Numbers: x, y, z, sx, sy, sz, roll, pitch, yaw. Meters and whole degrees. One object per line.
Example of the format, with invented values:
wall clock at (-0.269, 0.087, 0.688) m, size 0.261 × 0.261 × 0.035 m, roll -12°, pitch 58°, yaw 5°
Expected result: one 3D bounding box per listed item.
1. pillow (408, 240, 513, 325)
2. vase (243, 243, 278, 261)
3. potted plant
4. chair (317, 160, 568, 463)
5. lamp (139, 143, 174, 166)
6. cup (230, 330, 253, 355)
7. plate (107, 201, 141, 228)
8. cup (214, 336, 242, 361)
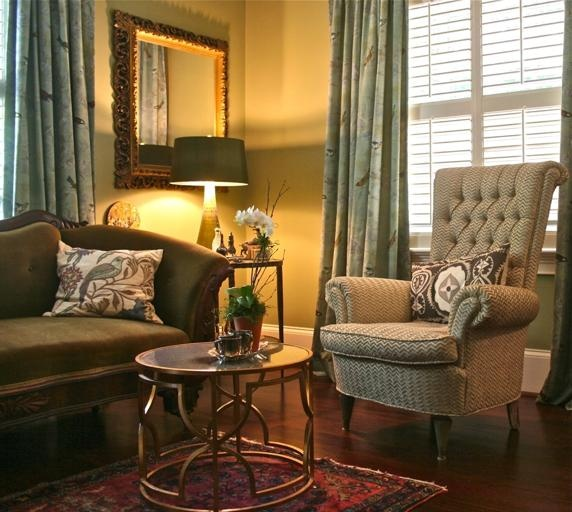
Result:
pillow at (0.803, 0.126, 2.446) m, size 0.099 × 0.245 × 0.379 m, roll 17°, pitch -18°, yaw -34°
vase at (-0.162, -0.031, 3.549) m, size 0.178 × 0.117 × 0.121 m, roll 0°, pitch 1°, yaw -26°
potted plant at (-0.179, 0.276, 3.783) m, size 0.589 × 0.899 × 0.607 m, roll -2°, pitch -2°, yaw 33°
chair at (0.621, 0.166, 2.989) m, size 1.313 × 1.600 × 1.243 m, roll 2°, pitch -2°, yaw -40°
lamp at (-0.921, -0.701, 3.755) m, size 0.167 × 0.101 × 0.165 m, roll 1°, pitch 4°, yaw 8°
cup at (-0.138, 0.297, 1.790) m, size 0.054 × 0.078 × 0.080 m, roll -2°, pitch -6°, yaw 7°
plate at (-1.077, -0.273, 3.541) m, size 0.030 × 0.224 × 0.232 m, roll -1°, pitch 0°, yaw 37°
cup at (-0.186, 0.297, 1.757) m, size 0.086 × 0.078 × 0.055 m, roll 0°, pitch 0°, yaw -7°
